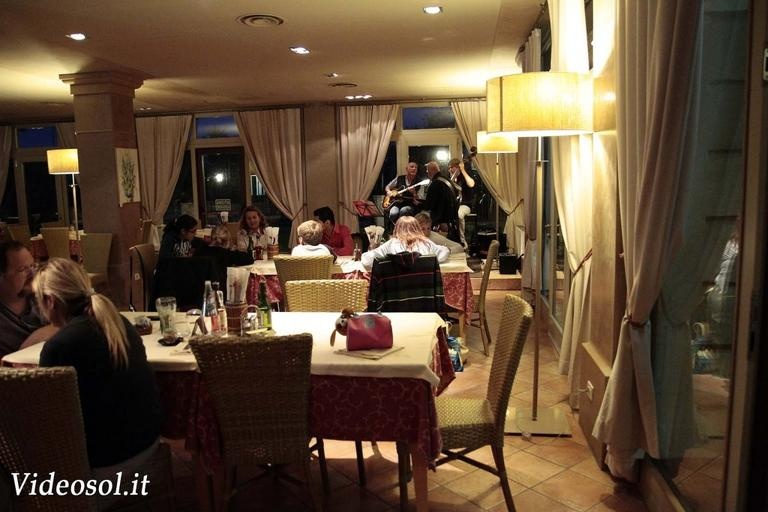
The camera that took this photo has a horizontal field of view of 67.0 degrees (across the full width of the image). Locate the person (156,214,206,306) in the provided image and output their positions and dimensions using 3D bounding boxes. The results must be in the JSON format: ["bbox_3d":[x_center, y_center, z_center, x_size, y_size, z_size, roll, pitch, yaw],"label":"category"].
[{"bbox_3d":[-2.077,0.046,5.916,0.513,0.799,1.154,-4,14,-17],"label":"person"}]

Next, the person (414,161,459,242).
[{"bbox_3d":[0.884,-0.729,9.446,0.669,1.691,0.563,4,28,12],"label":"person"}]

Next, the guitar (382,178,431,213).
[{"bbox_3d":[0.349,-1.059,9.654,0.845,0.382,0.107,-21,-18,20],"label":"guitar"}]

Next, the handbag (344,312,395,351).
[{"bbox_3d":[-0.083,0.415,3.200,0.297,0.231,0.166,0,10,-3],"label":"handbag"}]

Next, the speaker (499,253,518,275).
[{"bbox_3d":[1.895,0.110,8.814,0.284,0.301,0.297,-2,5,-6],"label":"speaker"}]

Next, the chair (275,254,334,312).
[{"bbox_3d":[-0.701,0.227,5.353,0.439,0.771,0.514,1,10,4],"label":"chair"}]

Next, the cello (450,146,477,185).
[{"bbox_3d":[1.304,-1.497,9.332,0.239,0.529,0.681,14,-29,-7],"label":"cello"}]

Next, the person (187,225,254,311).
[{"bbox_3d":[-1.600,0.001,5.825,0.804,0.436,0.701,5,31,1],"label":"person"}]
